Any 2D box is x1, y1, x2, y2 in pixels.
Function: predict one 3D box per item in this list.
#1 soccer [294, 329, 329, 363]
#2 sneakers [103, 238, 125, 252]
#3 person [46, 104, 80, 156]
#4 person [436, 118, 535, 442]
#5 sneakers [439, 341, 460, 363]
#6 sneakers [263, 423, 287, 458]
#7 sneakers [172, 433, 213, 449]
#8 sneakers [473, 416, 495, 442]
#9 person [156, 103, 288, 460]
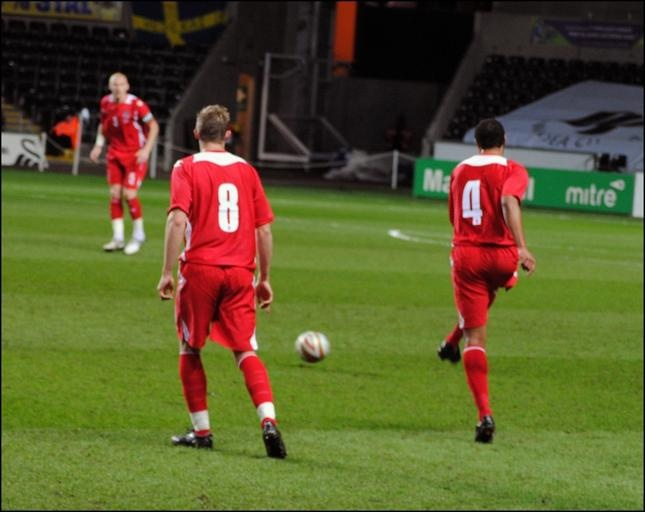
[{"bbox_3d":[-0.081,0.664,7.644,0.236,0.241,0.201,3,6,-2],"label":"soccer"},{"bbox_3d":[-2.311,-0.111,11.825,0.097,0.120,0.272,1,-1,42],"label":"sneakers"},{"bbox_3d":[-4.520,-2.002,18.440,0.483,0.276,1.027,7,42,-28],"label":"person"},{"bbox_3d":[1.143,0.137,7.785,0.524,2.274,0.695,-3,8,-45],"label":"person"},{"bbox_3d":[1.035,0.771,8.693,0.146,0.153,0.179,7,7,28],"label":"sneakers"},{"bbox_3d":[-0.330,1.235,7.099,0.099,0.289,0.129,-12,13,3],"label":"sneakers"},{"bbox_3d":[-0.884,1.262,7.327,0.285,0.133,0.114,7,-5,8],"label":"sneakers"},{"bbox_3d":[1.155,1.216,7.563,0.133,0.189,0.167,4,6,8],"label":"sneakers"},{"bbox_3d":[-0.682,0.148,7.276,0.870,2.317,0.552,3,6,4],"label":"person"}]
